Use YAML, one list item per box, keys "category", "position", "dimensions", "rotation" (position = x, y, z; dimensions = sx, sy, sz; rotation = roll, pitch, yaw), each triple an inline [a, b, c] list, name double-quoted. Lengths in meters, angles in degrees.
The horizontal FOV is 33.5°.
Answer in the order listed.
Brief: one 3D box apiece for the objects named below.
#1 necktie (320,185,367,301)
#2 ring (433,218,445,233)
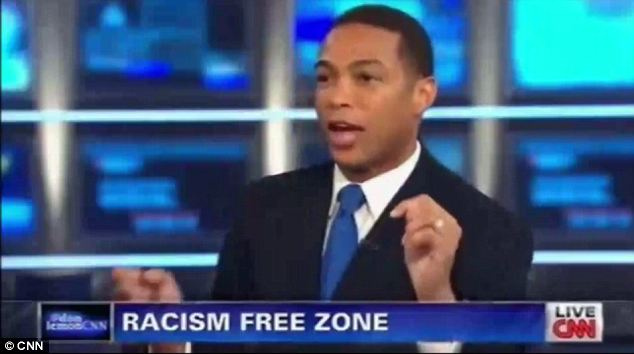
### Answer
- category: "necktie"
  position: [0.155, 0.353, 6.275]
  dimensions: [0.193, 0.779, 0.119]
  rotation: [19, -7, -1]
- category: "ring"
  position: [0.713, 0.288, 6.163]
  dimensions: [0.071, 0.076, 0.029]
  rotation: [14, -3, 8]
